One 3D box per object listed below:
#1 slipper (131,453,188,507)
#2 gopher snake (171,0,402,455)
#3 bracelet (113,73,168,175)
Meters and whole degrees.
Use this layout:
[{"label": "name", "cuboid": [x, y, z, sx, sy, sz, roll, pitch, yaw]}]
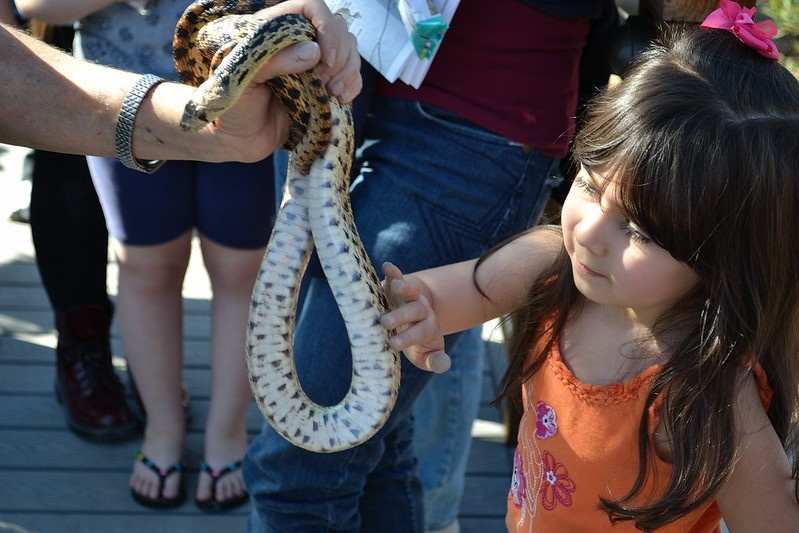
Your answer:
[{"label": "slipper", "cuboid": [-1.072, 0.923, 3.526, 0.190, 0.142, 0.403, 4, 7, -21]}, {"label": "gopher snake", "cuboid": [-0.292, -0.075, 2.350, 0.645, 1.399, 0.259, -5, 4, -32]}, {"label": "bracelet", "cuboid": [-0.801, -0.429, 2.447, 0.141, 0.309, 0.115, 0, 35, -21]}]
